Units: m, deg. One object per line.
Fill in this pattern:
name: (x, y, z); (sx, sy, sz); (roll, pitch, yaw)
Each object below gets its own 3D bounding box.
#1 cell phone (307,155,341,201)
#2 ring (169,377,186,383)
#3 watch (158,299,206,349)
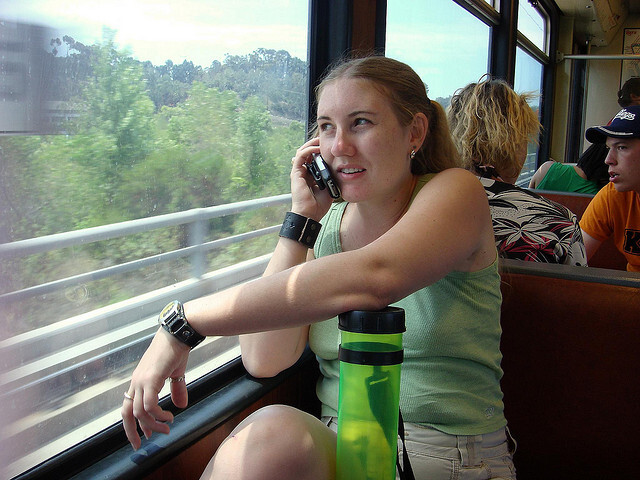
cell phone: (0.033, -0.175, 1.305); (0.032, 0.124, 0.123); (-29, 46, -13)
ring: (-0.352, 0.348, 1.063); (0.020, 0.008, 0.020); (-2, -8, 0)
watch: (-0.328, 0.229, 1.037); (0.058, 0.091, 0.091); (-20, -13, -8)
